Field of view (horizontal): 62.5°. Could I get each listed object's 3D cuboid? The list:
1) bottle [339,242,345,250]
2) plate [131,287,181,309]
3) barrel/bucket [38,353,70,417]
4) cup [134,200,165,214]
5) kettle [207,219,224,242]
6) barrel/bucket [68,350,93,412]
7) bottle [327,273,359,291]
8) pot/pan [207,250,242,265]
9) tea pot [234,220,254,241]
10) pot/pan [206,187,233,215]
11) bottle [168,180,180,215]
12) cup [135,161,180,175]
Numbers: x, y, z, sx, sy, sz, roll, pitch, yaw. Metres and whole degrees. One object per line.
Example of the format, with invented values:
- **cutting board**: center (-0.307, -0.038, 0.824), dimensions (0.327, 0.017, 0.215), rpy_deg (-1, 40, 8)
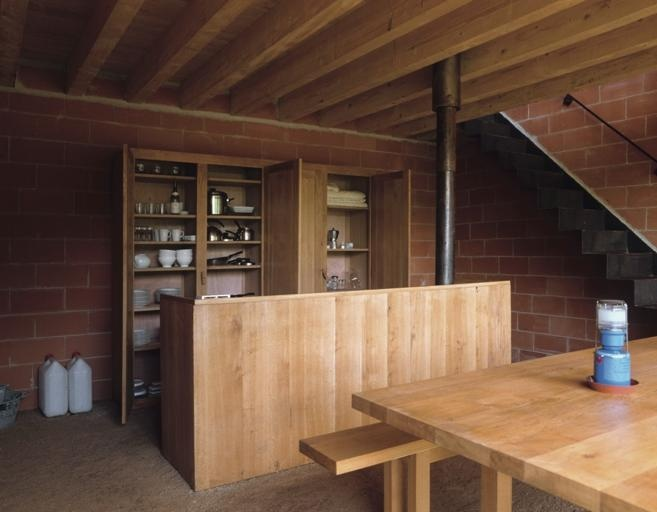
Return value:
- **bottle**: center (0.153, -0.094, 6.215), dimensions (0.077, 0.077, 0.072), rpy_deg (3, -5, -17)
- **plate**: center (-1.590, 0.390, 5.078), dimensions (0.430, 0.186, 0.493), rpy_deg (-3, 7, -17)
- **barrel/bucket**: center (-2.402, 1.118, 4.727), dimensions (0.235, 0.457, 0.361), rpy_deg (-6, 9, -30)
- **cup**: center (-1.638, -0.421, 4.989), dimensions (0.225, 0.080, 0.127), rpy_deg (0, 0, -44)
- **kettle**: center (-1.112, -0.231, 5.340), dimensions (0.161, 0.176, 0.572), rpy_deg (-3, 7, -12)
- **barrel/bucket**: center (-2.205, 1.109, 4.784), dimensions (0.203, 0.476, 0.289), rpy_deg (-5, 9, -26)
- **bottle**: center (0.160, 0.309, 6.266), dimensions (0.190, 0.123, 0.318), rpy_deg (1, -2, -24)
- **pot/pan**: center (-1.062, 0.053, 5.304), dimensions (0.274, 0.036, 0.167), rpy_deg (-21, -11, 33)
- **tea pot**: center (-0.832, -0.227, 5.513), dimensions (0.153, 0.199, 0.246), rpy_deg (1, -3, -29)
- **pot/pan**: center (-0.987, -0.480, 5.223), dimensions (0.166, 0.193, 0.296), rpy_deg (-7, -8, 37)
- **bottle**: center (-1.467, -0.531, 5.185), dimensions (0.117, 0.287, 0.400), rpy_deg (-3, 8, -15)
- **cup**: center (-1.584, -0.790, 5.048), dimensions (0.472, 0.129, 0.272), rpy_deg (-5, 8, -31)
